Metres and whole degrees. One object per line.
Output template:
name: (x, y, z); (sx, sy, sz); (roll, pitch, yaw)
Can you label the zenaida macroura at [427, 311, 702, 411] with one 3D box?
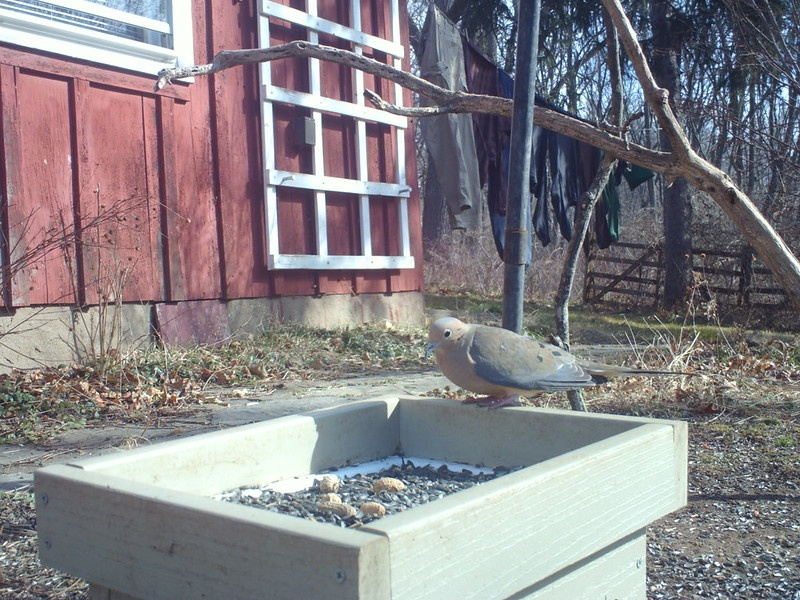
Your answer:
zenaida macroura: (0.872, 0.313, 6.763); (1.748, 0.698, 0.468); (-2, 14, 2)
